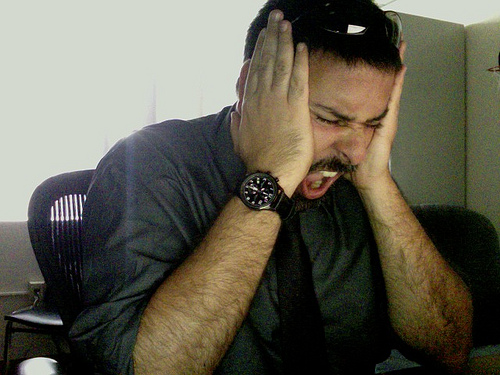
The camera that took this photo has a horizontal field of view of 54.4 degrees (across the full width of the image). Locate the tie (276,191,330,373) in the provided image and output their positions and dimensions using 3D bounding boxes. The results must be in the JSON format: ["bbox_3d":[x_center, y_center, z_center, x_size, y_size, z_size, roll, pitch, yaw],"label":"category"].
[{"bbox_3d":[0.173,0.378,1.774,0.156,0.538,0.233,-3,4,-8],"label":"tie"}]
